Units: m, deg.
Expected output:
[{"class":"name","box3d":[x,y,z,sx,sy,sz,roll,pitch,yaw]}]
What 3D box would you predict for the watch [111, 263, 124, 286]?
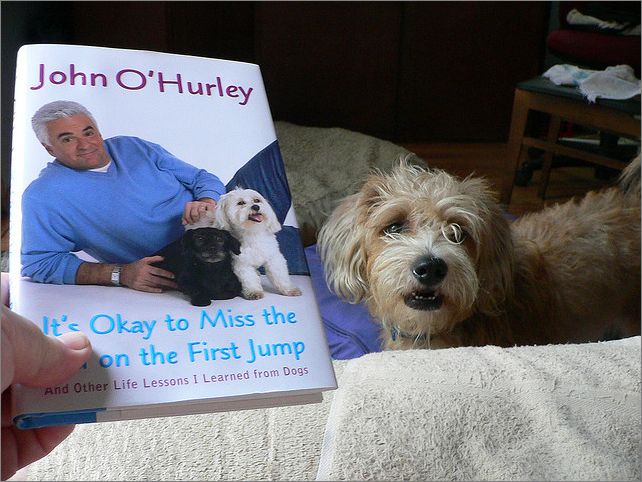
[{"class":"watch","box3d":[-0.201,0.035,0.585,0.011,0.017,0.017,6,6,-10]}]
